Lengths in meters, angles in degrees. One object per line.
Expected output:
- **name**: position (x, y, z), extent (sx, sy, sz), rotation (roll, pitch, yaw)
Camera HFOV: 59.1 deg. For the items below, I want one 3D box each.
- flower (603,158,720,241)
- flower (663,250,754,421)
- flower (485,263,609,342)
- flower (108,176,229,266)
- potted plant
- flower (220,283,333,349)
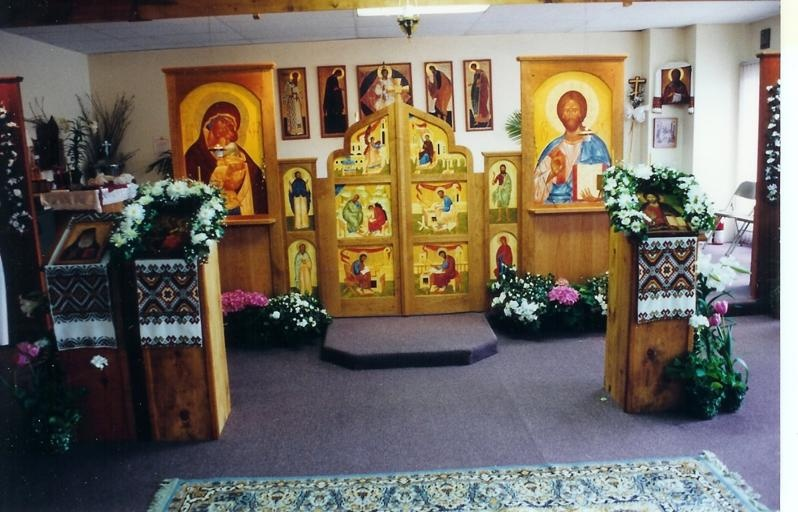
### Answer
- **flower**: position (2.520, -0.605, 6.942), extent (0.900, 0.787, 0.316), rotation (-1, -16, 3)
- **flower**: position (3.274, 0.728, 7.295), extent (0.703, 1.562, 1.412), rotation (1, 7, 28)
- **flower**: position (1.825, 0.552, 8.554), extent (1.451, 0.788, 0.562), rotation (-1, 6, 9)
- **flower**: position (-2.227, -0.328, 6.756), extent (1.055, 0.790, 0.464), rotation (-2, 6, -1)
- **potted plant**: position (-4.705, -1.802, 10.456), extent (0.746, 1.335, 1.588), rotation (-1, 6, 11)
- **flower**: position (-1.533, 0.757, 8.616), extent (0.852, 0.446, 0.814), rotation (1, 6, 0)
